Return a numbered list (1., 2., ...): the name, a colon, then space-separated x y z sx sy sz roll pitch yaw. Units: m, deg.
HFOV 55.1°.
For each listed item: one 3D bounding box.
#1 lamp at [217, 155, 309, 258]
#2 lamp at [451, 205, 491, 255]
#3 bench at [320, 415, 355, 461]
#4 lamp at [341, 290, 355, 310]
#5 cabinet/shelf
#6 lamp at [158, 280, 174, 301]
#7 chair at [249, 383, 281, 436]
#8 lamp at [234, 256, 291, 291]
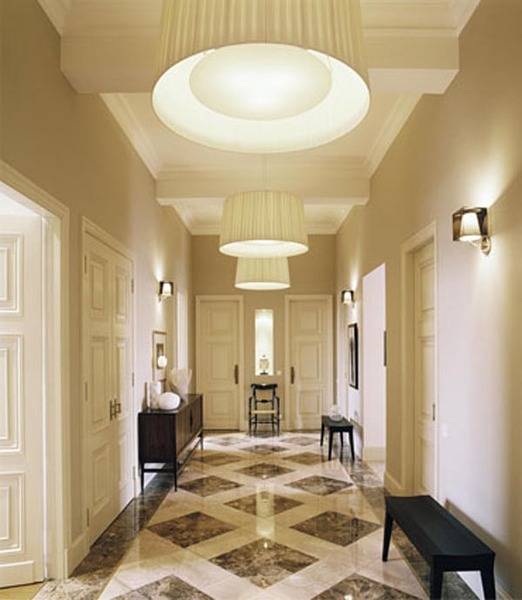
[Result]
1. lamp: 0.003 -0.473 3.133 0.504 0.397 0.588 0 -5 -6
2. lamp: 1.171 -0.378 2.792 0.169 0.266 0.157 0 -3 6
3. bench: 1.049 1.871 6.734 0.251 0.524 0.893 -1 -4 3
4. lamp: 1.277 -0.013 7.254 0.160 0.328 0.211 0 -10 3
5. cabinet/shelf: -0.950 1.584 5.895 0.267 0.822 1.748 -1 -4 4
6. lamp: -1.175 -0.116 6.271 0.163 0.382 0.191 0 -2 -4
7. chair: 0.057 1.852 8.556 0.566 0.819 0.644 0 -4 1
8. lamp: 0.019 -0.228 4.252 0.433 0.234 0.605 -1 -5 5
